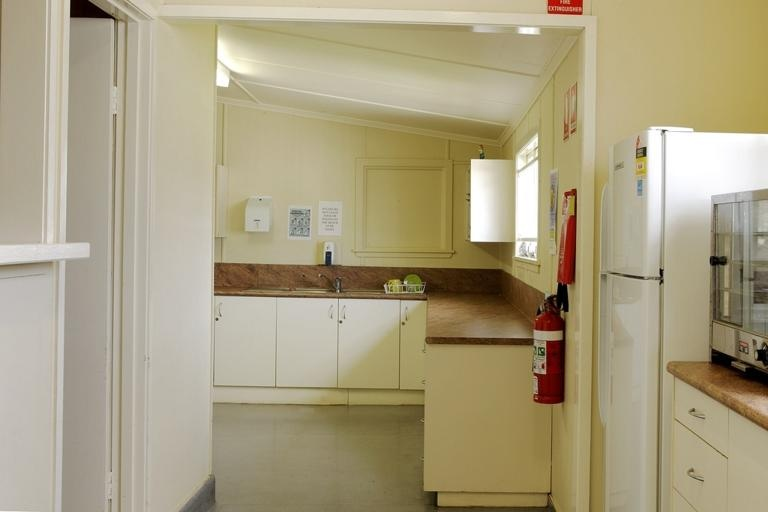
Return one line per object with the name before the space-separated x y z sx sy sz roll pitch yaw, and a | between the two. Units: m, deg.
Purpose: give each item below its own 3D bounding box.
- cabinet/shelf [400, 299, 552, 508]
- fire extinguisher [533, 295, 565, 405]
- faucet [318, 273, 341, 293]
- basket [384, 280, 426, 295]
cabinet/shelf | 0.696 0.788 4.318 0.817 1.089 1.572 0 1 4
fire extinguisher | 1.036 0.603 3.688 0.198 0.701 0.189 2 6 14
faucet | -0.568 0.282 6.122 0.246 0.171 0.244 0 6 -6
basket | 0.214 0.326 5.928 0.397 0.149 0.575 1 7 4
